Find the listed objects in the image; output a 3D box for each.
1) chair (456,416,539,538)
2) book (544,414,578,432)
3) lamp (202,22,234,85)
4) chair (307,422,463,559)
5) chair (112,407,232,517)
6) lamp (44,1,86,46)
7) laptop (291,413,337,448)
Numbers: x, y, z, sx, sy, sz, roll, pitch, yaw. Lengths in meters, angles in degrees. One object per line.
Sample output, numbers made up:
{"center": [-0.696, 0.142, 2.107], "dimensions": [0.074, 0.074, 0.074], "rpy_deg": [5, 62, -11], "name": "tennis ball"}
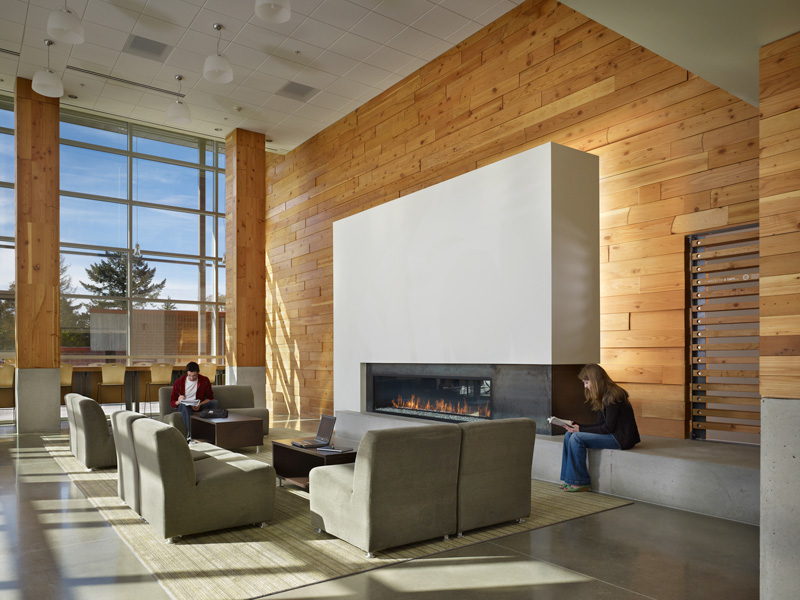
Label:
{"center": [0.621, 1.565, 5.701], "dimensions": [0.931, 0.912, 1.028], "rpy_deg": [3, -6, -31], "name": "chair"}
{"center": [1.686, 1.283, 6.247], "dimensions": [0.326, 0.108, 0.317], "rpy_deg": [10, -10, -40], "name": "book"}
{"center": [-2.727, -3.682, 9.079], "dimensions": [0.368, 0.888, 1.074], "rpy_deg": [-2, 5, -14], "name": "lamp"}
{"center": [-0.108, 1.587, 5.296], "dimensions": [1.042, 1.021, 1.091], "rpy_deg": [5, -10, -32], "name": "chair"}
{"center": [-2.403, 1.540, 6.190], "dimensions": [0.867, 1.352, 1.541], "rpy_deg": [0, -3, -38], "name": "chair"}
{"center": [-4.224, -3.484, 7.563], "dimensions": [0.377, 0.395, 0.349], "rpy_deg": [2, 5, 26], "name": "lamp"}
{"center": [-0.918, 1.496, 6.768], "dimensions": [0.421, 0.338, 0.480], "rpy_deg": [12, -11, -24], "name": "laptop"}
